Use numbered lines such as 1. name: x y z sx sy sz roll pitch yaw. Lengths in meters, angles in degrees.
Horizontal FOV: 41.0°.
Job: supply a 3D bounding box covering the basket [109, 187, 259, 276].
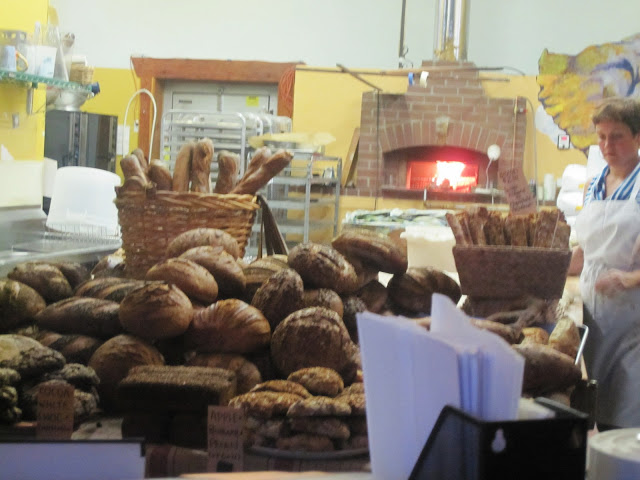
1. basket: -0.410 -0.060 2.428 0.290 0.191 0.283 1 0 7
